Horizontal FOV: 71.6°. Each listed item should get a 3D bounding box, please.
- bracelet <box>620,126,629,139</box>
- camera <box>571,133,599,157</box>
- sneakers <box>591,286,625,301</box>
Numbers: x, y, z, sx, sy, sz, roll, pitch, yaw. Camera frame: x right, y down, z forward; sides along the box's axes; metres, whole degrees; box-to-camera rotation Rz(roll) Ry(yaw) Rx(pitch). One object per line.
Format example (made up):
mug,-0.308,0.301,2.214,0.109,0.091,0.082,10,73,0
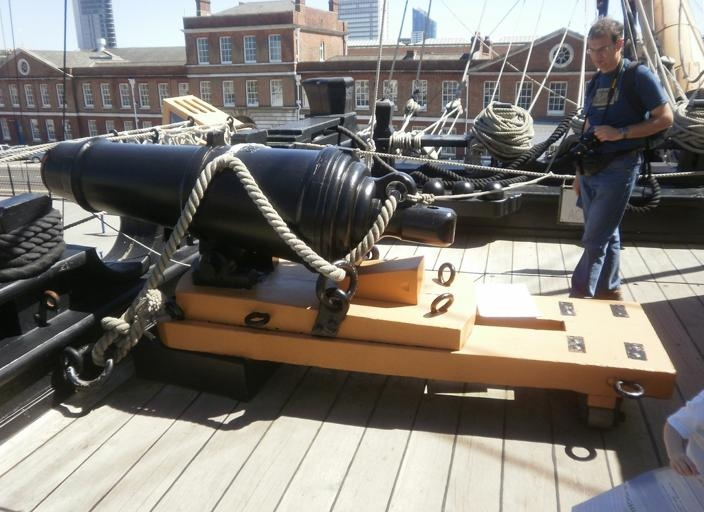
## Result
bracelet,1.298,-0.584,2.311,0.034,0.048,0.019,2,-5,23
camera,1.151,-0.544,2.448,0.051,0.063,0.176,35,-16,6
sneakers,1.400,0.210,2.664,0.173,0.038,0.105,-2,1,3
